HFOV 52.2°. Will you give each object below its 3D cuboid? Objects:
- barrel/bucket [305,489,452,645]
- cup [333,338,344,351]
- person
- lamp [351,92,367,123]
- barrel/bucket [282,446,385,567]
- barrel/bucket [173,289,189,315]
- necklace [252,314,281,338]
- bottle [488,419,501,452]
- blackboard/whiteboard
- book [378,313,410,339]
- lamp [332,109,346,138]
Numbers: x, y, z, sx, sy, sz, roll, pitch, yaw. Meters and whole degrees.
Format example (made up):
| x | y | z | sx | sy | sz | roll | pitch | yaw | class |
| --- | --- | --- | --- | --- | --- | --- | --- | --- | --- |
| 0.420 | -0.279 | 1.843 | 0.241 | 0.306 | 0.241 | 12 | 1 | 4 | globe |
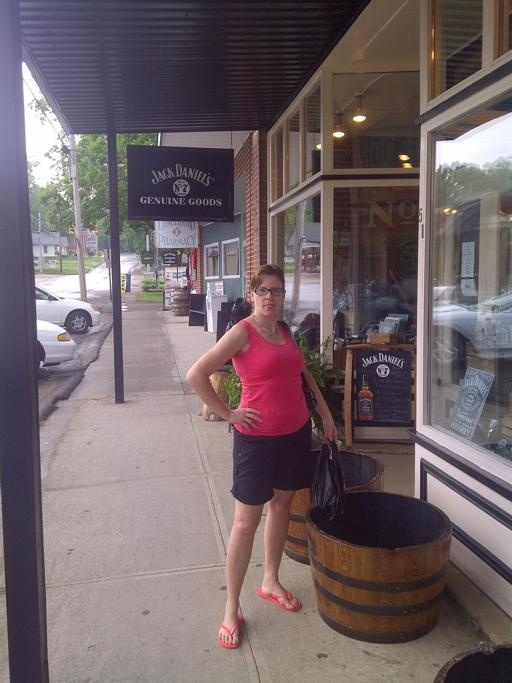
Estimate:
| x | y | z | sx | sy | sz | roll | pitch | yaw | class |
| --- | --- | --- | --- | --- | --- | --- | --- | --- | --- |
| 0.536 | 0.994 | 2.320 | 0.599 | 0.495 | 0.634 | -2 | 5 | 0 | barrel/bucket |
| 0.811 | 0.035 | 5.144 | 0.092 | 0.120 | 0.107 | 0 | 3 | 1 | cup |
| -0.011 | 0.474 | 2.316 | 0.589 | 1.601 | 0.302 | -3 | 5 | -21 | person |
| 1.025 | -2.298 | 5.200 | 0.142 | 0.296 | 0.049 | -3 | 5 | -21 | lamp |
| 0.441 | 0.904 | 2.903 | 0.527 | 0.508 | 0.634 | 0 | -4 | -1 | barrel/bucket |
| -3.118 | -1.516 | 20.997 | 0.819 | 1.251 | 0.889 | 0 | 4 | 0 | barrel/bucket |
| 0.040 | -0.061 | 2.253 | 0.082 | 0.065 | 0.116 | -4 | 37 | -47 | necklace |
| 1.213 | 0.469 | 2.661 | 0.048 | 0.181 | 0.068 | 1 | -26 | 22 | bottle |
| 1.130 | 0.369 | 4.588 | 0.559 | 0.873 | 0.089 | 0 | 2 | 4 | blackboard/whiteboard |
| 1.353 | -0.141 | 5.236 | 0.253 | 0.244 | 0.534 | 1 | 6 | 30 | book |
| 0.810 | -2.109 | 5.139 | 0.135 | 0.284 | 0.055 | -3 | 5 | -16 | lamp |
